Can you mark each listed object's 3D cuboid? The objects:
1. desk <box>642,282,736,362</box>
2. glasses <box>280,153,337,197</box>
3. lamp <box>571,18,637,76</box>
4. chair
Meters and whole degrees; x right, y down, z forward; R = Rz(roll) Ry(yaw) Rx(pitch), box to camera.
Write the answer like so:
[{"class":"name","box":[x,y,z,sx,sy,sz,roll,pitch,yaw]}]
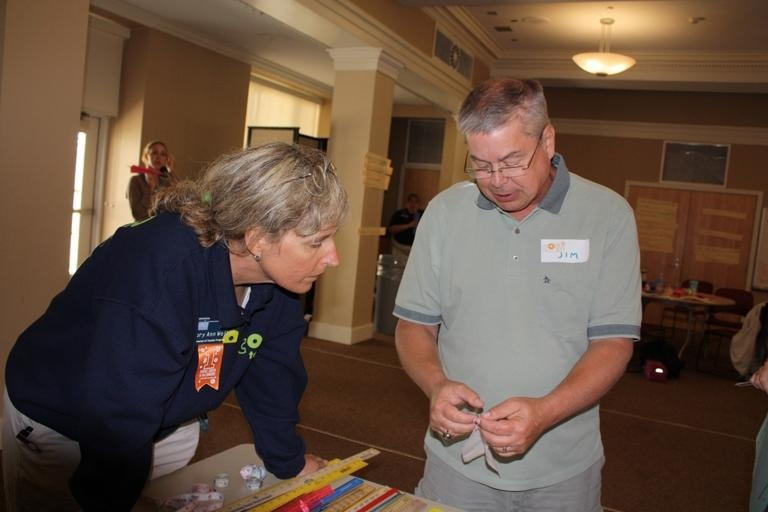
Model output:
[{"class":"desk","box":[4.598,1.003,7.902,1.171,0.761,1.178,-1,9,-10]},{"class":"glasses","box":[-0.250,-0.250,1.696,0.150,0.083,0.129,-4,52,-7]},{"class":"lamp","box":[2.913,-2.740,6.997,0.749,0.664,0.750,20,38,35]},{"class":"chair","box":[4.733,1.012,7.718,0.952,1.306,0.923,-1,-17,45]}]
